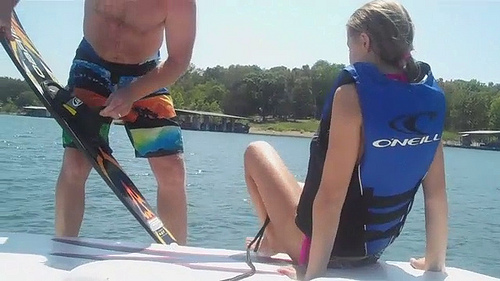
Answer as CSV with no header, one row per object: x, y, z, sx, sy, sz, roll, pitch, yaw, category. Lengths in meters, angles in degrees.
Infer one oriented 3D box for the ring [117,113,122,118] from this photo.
-1.292,-0.236,4.663,0.015,0.039,0.031,7,5,32,ring

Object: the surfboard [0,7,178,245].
-1.995,0.050,5.977,0.515,4.213,0.342,-35,0,-14,surfboard
